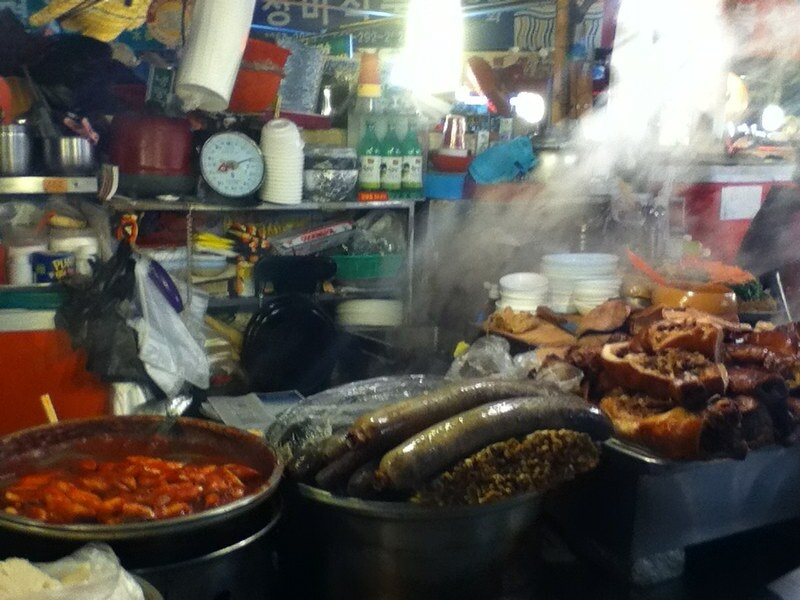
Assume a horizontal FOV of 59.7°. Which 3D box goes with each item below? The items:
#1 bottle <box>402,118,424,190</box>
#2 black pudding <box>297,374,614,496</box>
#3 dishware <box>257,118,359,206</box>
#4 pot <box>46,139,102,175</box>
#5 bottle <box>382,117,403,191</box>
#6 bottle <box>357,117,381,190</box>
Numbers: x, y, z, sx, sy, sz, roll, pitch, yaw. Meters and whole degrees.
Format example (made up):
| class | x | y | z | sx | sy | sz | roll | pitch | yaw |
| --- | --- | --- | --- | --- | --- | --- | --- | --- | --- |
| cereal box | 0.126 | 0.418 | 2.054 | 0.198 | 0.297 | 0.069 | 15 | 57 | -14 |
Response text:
| class | x | y | z | sx | sy | sz | roll | pitch | yaw |
| --- | --- | --- | --- | --- | --- | --- | --- | --- | --- |
| bottle | 0.099 | -1.133 | 5.438 | 0.176 | 0.543 | 0.260 | 3 | 13 | 2 |
| black pudding | 0.159 | 0.340 | 2.477 | 0.879 | 0.186 | 0.482 | -19 | 11 | -14 |
| dishware | -0.653 | -0.966 | 4.933 | 0.724 | 0.585 | 0.221 | -8 | 16 | -39 |
| pot | -2.039 | -0.888 | 4.354 | 0.310 | 0.245 | 0.313 | 0 | 7 | 0 |
| bottle | -0.059 | -1.129 | 5.395 | 0.159 | 0.548 | 0.273 | 2 | 13 | -2 |
| bottle | -0.226 | -1.115 | 5.325 | 0.174 | 0.538 | 0.221 | 2 | 13 | -3 |
